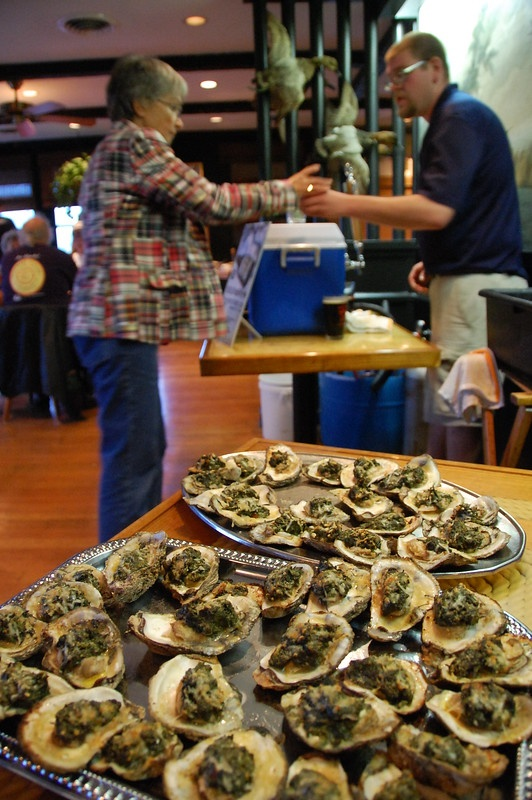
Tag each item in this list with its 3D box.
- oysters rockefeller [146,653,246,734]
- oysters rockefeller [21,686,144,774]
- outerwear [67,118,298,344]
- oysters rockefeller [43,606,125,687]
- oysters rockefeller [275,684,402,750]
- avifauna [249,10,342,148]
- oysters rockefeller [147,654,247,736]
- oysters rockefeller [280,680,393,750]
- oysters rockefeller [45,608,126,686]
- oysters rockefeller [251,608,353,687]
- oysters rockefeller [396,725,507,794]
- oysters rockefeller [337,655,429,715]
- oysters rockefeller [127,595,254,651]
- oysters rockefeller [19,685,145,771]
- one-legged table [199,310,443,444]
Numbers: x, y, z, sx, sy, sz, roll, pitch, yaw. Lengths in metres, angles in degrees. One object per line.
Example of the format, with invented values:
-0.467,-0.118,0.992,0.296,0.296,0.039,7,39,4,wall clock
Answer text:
-0.065,0.280,0.601,0.094,0.032,0.103,7,21,-6,oysters rockefeller
-0.169,0.285,0.548,0.046,0.019,0.061,10,3,34,oysters rockefeller
-0.194,-0.424,1.605,0.540,0.511,0.415,2,13,-1,outerwear
-0.188,0.256,0.662,0.068,0.025,0.065,-9,45,-42,oysters rockefeller
0.063,0.271,0.547,0.088,0.024,0.069,-6,12,-8,oysters rockefeller
0.111,-1.851,3.705,0.536,0.798,0.338,0,4,40,avifauna
-0.063,0.281,0.600,0.094,0.033,0.099,3,21,-17,oysters rockefeller
0.060,0.267,0.546,0.059,0.019,0.055,1,4,15,oysters rockefeller
-0.188,0.257,0.661,0.068,0.026,0.065,-8,46,-39,oysters rockefeller
0.039,0.255,0.647,0.071,0.024,0.061,-28,29,-19,oysters rockefeller
0.147,0.279,0.504,0.072,0.025,0.042,-6,-19,36,oysters rockefeller
0.117,0.268,0.593,0.054,0.019,0.051,-1,17,1,oysters rockefeller
-0.081,0.233,0.699,0.085,0.030,0.072,-3,3,24,oysters rockefeller
-0.171,0.286,0.561,0.070,0.030,0.102,30,18,34,oysters rockefeller
0.113,-0.163,1.840,0.504,0.477,0.488,-1,15,-2,one-legged table
